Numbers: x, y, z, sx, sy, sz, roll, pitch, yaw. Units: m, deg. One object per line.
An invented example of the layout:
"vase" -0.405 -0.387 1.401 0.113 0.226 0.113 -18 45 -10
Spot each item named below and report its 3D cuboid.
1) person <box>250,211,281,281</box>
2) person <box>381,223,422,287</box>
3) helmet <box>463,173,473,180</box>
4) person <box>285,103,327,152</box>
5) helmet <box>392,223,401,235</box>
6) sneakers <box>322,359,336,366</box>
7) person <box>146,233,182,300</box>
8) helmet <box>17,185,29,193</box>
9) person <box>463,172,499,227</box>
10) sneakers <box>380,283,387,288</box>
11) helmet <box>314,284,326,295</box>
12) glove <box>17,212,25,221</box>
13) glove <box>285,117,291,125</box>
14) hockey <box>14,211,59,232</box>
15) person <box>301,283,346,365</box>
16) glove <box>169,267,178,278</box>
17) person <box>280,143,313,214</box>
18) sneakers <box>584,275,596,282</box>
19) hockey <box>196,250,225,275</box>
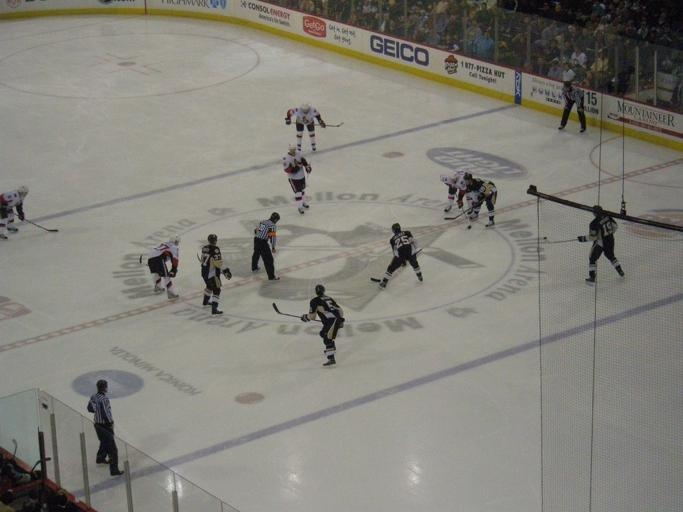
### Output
"person" -1.745 -0.241 17.773 0.589 1.361 0.915 0 25 -5
"person" 1.309 -0.043 17.193 1.056 1.331 0.740 -11 18 -21
"helmet" 3.077 -1.949 19.195 0.175 0.091 0.161 -6 33 -5
"person" -1.129 -4.007 24.409 1.234 1.699 0.639 3 37 -2
"helmet" 1.194 -0.609 16.940 0.192 0.201 0.260 -14 23 -22
"sneakers" -0.213 1.994 14.838 0.272 0.175 0.089 1 41 6
"person" -3.923 0.291 17.397 0.917 1.356 0.680 -22 51 -34
"helmet" -7.842 -1.651 19.358 0.300 0.137 0.389 17 8 -21
"person" 3.484 -1.478 19.611 0.858 1.309 0.674 7 26 9
"sneakers" 0.927 0.622 17.211 0.098 0.123 0.067 9 -5 -44
"helmet" -0.401 0.619 14.526 0.164 0.182 0.191 -3 13 3
"glove" -7.860 -0.986 19.220 0.206 0.225 0.319 0 1 -25
"glove" -1.690 -4.291 24.907 0.245 0.244 0.265 -2 1 6
"hockey" -7.934 -0.893 20.450 1.208 0.094 0.130 24 6 21
"person" -0.340 1.241 14.801 0.766 1.570 0.753 -2 26 -10
"glove" -3.615 0.322 16.842 0.147 0.298 0.301 -2 25 -11
"person" -1.159 -2.143 20.739 0.650 1.719 1.318 2 25 -3
"sneakers" 5.077 0.452 16.111 0.122 0.136 0.217 -3 25 -13
"hockey" -2.747 0.136 16.479 0.272 0.669 0.216 29 62 10
